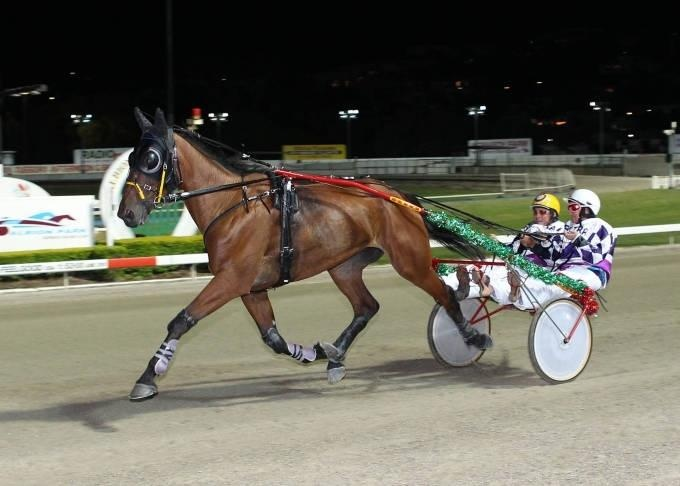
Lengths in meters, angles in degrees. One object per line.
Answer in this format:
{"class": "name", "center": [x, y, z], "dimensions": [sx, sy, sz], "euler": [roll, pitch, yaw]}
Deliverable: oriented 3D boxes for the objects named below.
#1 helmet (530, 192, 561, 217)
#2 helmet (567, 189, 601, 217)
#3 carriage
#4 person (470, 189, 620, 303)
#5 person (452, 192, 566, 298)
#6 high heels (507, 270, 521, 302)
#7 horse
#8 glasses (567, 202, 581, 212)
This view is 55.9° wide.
{"class": "helmet", "center": [1.865, -0.361, 5.709], "dimensions": [0.302, 0.129, 0.205], "euler": [24, -17, -33]}
{"class": "helmet", "center": [2.208, -0.365, 5.779], "dimensions": [0.339, 0.194, 0.225], "euler": [5, 7, 10]}
{"class": "carriage", "center": [-0.295, 0.127, 5.263], "dimensions": [3.530, 1.953, 0.806], "euler": [-2, -10, -39]}
{"class": "person", "center": [1.888, 0.052, 5.490], "dimensions": [0.987, 0.909, 1.485], "euler": [4, 14, 15]}
{"class": "person", "center": [1.503, -0.033, 5.658], "dimensions": [1.134, 0.632, 0.533], "euler": [-17, 13, -25]}
{"class": "high heels", "center": [1.515, 0.370, 5.466], "dimensions": [0.112, 0.215, 0.139], "euler": [-6, 4, 26]}
{"class": "horse", "center": [-0.161, 0.137, 5.414], "dimensions": [3.868, 2.030, 0.876], "euler": [0, -12, -44]}
{"class": "glasses", "center": [2.089, -0.325, 5.728], "dimensions": [0.110, 0.044, 0.092], "euler": [2, -3, -44]}
